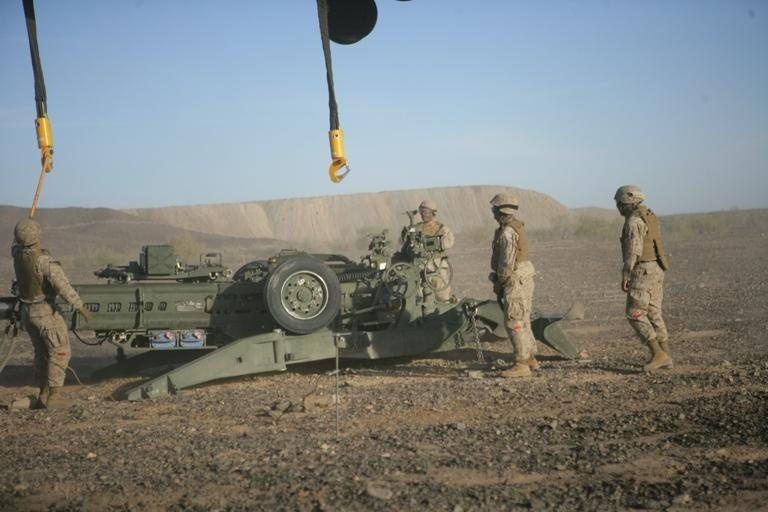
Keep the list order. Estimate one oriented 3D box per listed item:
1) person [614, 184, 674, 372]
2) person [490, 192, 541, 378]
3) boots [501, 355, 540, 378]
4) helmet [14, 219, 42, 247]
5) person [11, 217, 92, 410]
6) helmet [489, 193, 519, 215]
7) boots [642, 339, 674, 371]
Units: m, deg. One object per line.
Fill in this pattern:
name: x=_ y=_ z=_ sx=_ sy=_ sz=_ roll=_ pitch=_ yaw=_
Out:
person: x=3.775 y=0.299 z=10.318 sx=0.746 sy=2.635 sz=0.741 roll=-1 pitch=6 yaw=19
person: x=1.909 y=0.408 z=10.606 sx=0.674 sy=2.639 sz=0.932 roll=-2 pitch=6 yaw=7
boots: x=2.011 y=1.629 z=10.471 sx=0.701 sy=0.239 sz=0.387 roll=-4 pitch=6 yaw=-12
helmet: x=-5.037 y=-0.287 z=9.995 sx=0.349 sy=0.443 sz=0.365 roll=3 pitch=-16 yaw=-16
person: x=-4.798 y=0.796 z=10.009 sx=0.994 sy=2.644 sz=0.441 roll=-3 pitch=6 yaw=2
helmet: x=1.850 y=-0.805 z=10.892 sx=0.404 sy=0.294 sz=0.303 roll=-7 pitch=11 yaw=-18
boots: x=3.931 y=1.409 z=10.217 sx=0.469 sy=0.441 sz=0.189 roll=-4 pitch=6 yaw=-8
